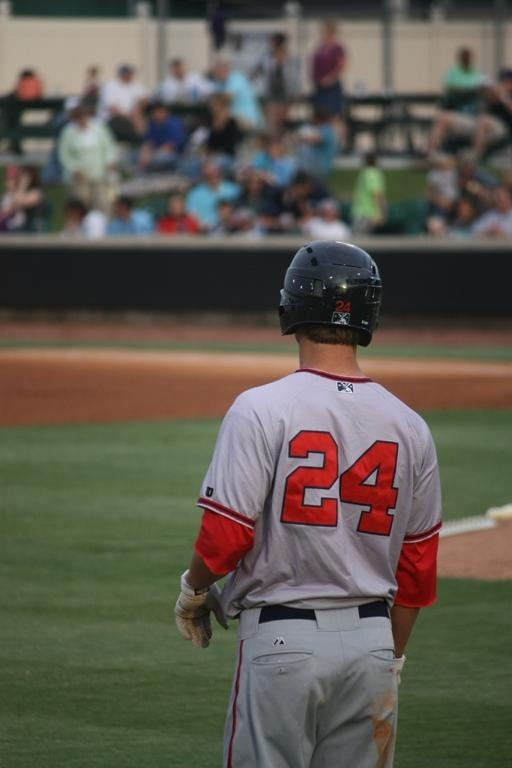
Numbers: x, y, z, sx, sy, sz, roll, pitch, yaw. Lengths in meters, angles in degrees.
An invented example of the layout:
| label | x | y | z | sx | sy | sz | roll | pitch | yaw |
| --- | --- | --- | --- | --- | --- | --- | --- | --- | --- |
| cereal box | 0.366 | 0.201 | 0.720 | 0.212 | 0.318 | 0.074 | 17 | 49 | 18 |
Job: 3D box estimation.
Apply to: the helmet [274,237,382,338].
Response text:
| label | x | y | z | sx | sy | sz | roll | pitch | yaw |
| --- | --- | --- | --- | --- | --- | --- | --- | --- | --- |
| helmet | 0.217 | -0.286 | 4.544 | 0.313 | 0.304 | 0.259 | 7 | 5 | 17 |
